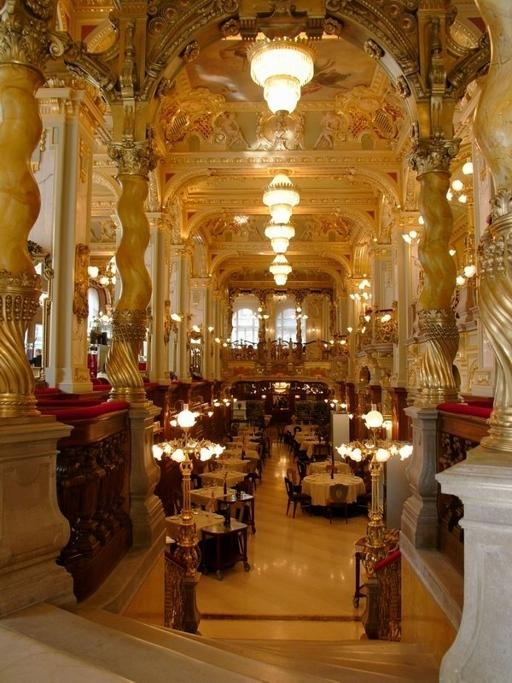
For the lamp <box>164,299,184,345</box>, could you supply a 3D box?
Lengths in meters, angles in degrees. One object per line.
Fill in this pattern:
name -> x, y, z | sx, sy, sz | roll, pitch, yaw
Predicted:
lamp -> -1.754, -0.462, 12.479 | 0.384, 1.255, 1.028 | -1, -2, 6
